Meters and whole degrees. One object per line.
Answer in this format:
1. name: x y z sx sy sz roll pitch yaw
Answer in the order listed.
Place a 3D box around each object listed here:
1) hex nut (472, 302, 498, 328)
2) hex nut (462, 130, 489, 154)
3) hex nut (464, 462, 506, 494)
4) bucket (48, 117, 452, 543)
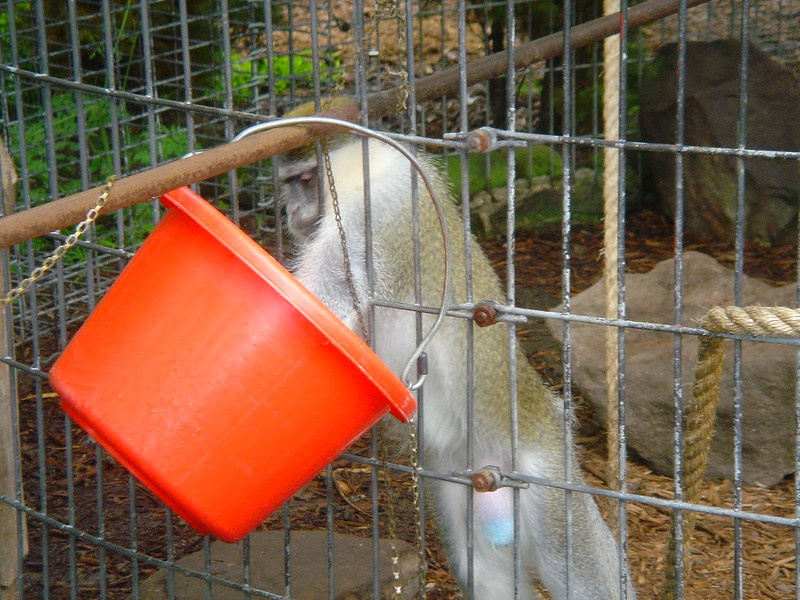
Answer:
1. hex nut: 0.346 0.051 7.078 0.108 0.090 0.057 10 27 32
2. hex nut: 0.308 -0.634 7.008 0.119 0.105 0.056 14 28 40
3. hex nut: 0.355 0.725 7.127 0.132 0.100 0.083 -3 21 2
4. bucket: -0.706 0.092 6.991 1.058 1.316 1.378 -40 43 -11
